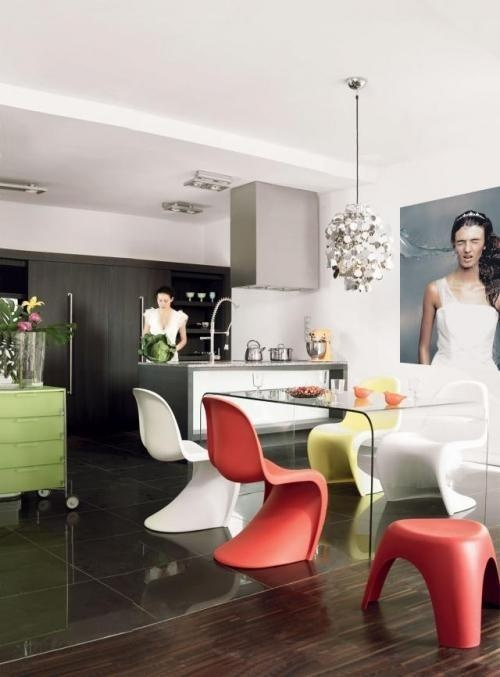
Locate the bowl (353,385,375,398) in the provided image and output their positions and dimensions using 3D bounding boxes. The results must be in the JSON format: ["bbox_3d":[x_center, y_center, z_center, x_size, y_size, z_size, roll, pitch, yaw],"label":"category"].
[{"bbox_3d":[0.639,0.297,3.153,0.089,0.058,0.063,-1,-3,-6],"label":"bowl"}]

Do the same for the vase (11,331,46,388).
[{"bbox_3d":[-1.367,0.126,3.540,0.101,0.353,0.210,-2,-4,34],"label":"vase"}]

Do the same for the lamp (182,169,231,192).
[{"bbox_3d":[-0.392,-1.622,5.703,0.446,0.095,0.514,1,-3,-22],"label":"lamp"}]

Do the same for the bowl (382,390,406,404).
[{"bbox_3d":[0.760,0.300,2.937,0.091,0.054,0.068,0,-1,-1],"label":"bowl"}]

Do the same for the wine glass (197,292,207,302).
[{"bbox_3d":[-0.650,-0.560,7.533,0.121,0.118,0.120,-1,2,-4],"label":"wine glass"}]

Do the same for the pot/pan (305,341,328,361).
[{"bbox_3d":[0.715,0.118,6.104,0.196,0.180,0.207,1,-5,-7],"label":"pot/pan"}]

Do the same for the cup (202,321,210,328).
[{"bbox_3d":[-0.590,-0.194,7.337,0.090,0.064,0.080,-1,-1,15],"label":"cup"}]

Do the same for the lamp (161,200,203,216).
[{"bbox_3d":[-0.852,-1.634,7.087,0.503,0.122,0.838,0,-3,-5],"label":"lamp"}]

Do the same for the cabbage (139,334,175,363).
[{"bbox_3d":[-0.872,0.096,5.356,0.357,0.275,0.200,1,-3,-23],"label":"cabbage"}]

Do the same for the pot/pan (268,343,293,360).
[{"bbox_3d":[0.353,0.144,6.214,0.216,0.166,0.186,2,-2,-38],"label":"pot/pan"}]

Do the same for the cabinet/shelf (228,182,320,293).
[{"bbox_3d":[0.280,-1.115,6.304,0.969,1.120,0.473,2,-4,-39],"label":"cabinet/shelf"}]

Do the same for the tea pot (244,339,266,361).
[{"bbox_3d":[0.051,0.141,5.826,0.160,0.212,0.263,-5,-8,40],"label":"tea pot"}]

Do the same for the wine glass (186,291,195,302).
[{"bbox_3d":[-0.811,-0.572,7.495,0.124,0.123,0.130,3,3,37],"label":"wine glass"}]

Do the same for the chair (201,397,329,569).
[{"bbox_3d":[0.059,0.615,2.511,0.475,0.719,0.325,3,-4,-43],"label":"chair"}]
